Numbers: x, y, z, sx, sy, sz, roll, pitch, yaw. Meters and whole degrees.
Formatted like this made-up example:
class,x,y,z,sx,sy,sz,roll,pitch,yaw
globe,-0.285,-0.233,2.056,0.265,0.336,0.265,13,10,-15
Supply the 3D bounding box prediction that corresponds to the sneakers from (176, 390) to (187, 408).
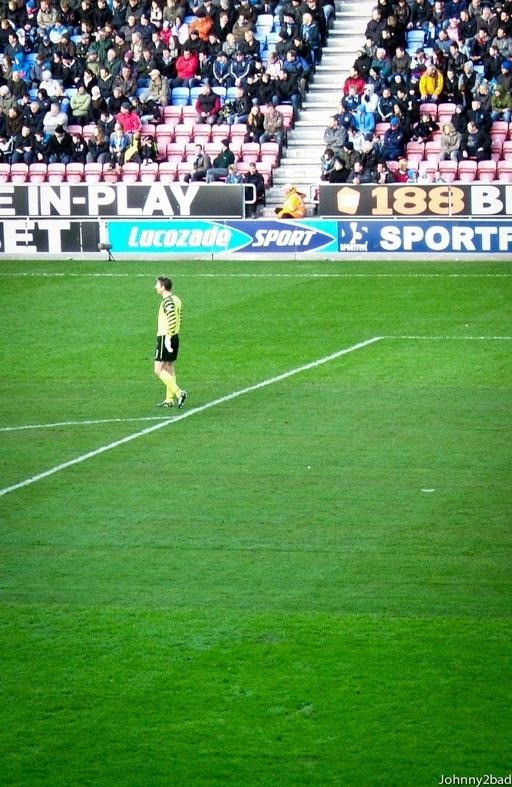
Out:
class,x,y,z,sx,sy,sz,roll,pitch,yaw
sneakers,-0.781,0.038,17.974,0.089,0.083,0.225,14,-37,6
